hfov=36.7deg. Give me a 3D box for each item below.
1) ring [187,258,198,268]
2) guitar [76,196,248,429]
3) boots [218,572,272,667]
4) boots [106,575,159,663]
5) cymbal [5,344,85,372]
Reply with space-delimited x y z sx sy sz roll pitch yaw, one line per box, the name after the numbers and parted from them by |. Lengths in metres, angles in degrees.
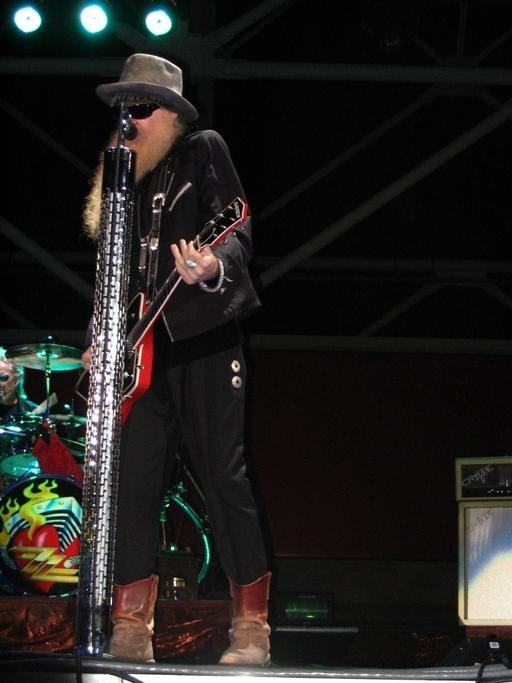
-0.162 -0.201 1.942 0.024 0.018 0.007 1 1 10 | ring
-0.232 -0.080 2.107 0.139 0.293 0.745 13 -48 -26 | guitar
-0.021 0.725 2.032 0.124 0.232 0.238 3 -18 2 | boots
-0.327 0.755 2.135 0.163 0.218 0.114 15 -21 -30 | boots
-1.274 0.120 4.682 0.436 0.133 0.520 7 -17 -14 | cymbal
